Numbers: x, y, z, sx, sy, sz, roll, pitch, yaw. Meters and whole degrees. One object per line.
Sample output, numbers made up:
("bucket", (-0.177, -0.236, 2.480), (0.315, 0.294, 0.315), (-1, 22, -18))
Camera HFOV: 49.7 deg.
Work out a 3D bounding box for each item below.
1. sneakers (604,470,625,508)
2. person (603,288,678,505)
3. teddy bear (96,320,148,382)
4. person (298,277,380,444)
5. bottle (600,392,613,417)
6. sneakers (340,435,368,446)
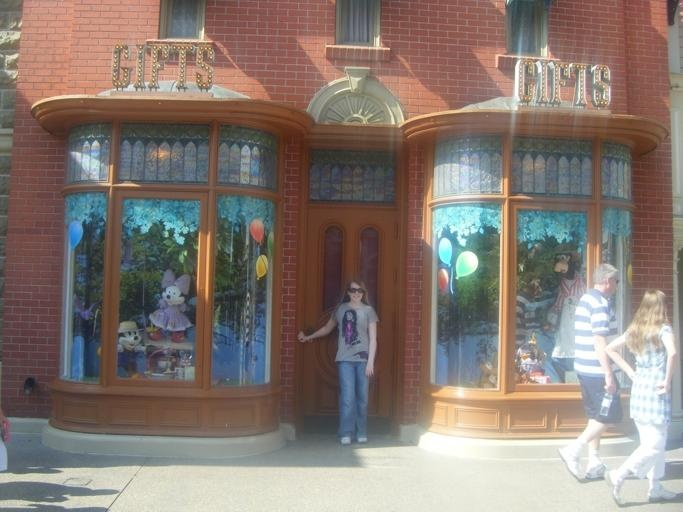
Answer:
("sneakers", (3.110, 2.600, 8.337), (0.212, 0.382, 0.238), (1, 7, -2))
("person", (3.424, 1.594, 8.275), (0.725, 2.372, 0.614), (4, 7, 25))
("teddy bear", (-2.913, 1.286, 10.209), (0.682, 0.972, 0.684), (-2, 2, -17))
("person", (0.107, 1.455, 10.597), (0.719, 2.227, 0.948), (-3, 8, -26))
("bottle", (3.131, 1.763, 8.737), (0.128, 0.265, 0.065), (5, 0, 45))
("sneakers", (0.180, 2.569, 10.304), (0.387, 0.117, 0.158), (0, 8, -5))
